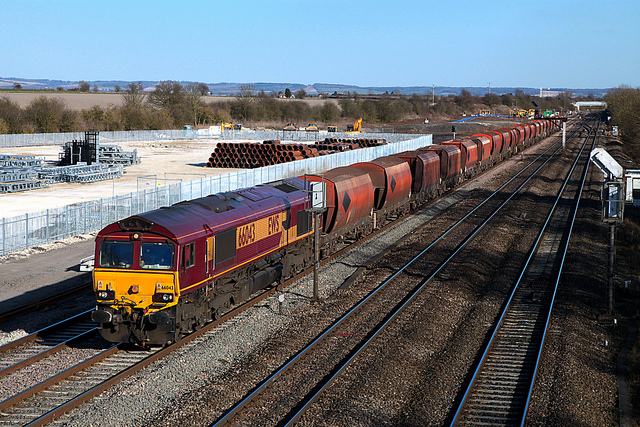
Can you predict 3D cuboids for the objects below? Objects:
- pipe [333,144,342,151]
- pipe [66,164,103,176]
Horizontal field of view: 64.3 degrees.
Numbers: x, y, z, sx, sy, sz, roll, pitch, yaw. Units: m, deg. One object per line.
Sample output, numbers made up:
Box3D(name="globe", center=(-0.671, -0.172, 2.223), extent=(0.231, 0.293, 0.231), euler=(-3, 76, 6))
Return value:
Box3D(name="pipe", center=(2.560, -9.512, 72.565), extent=(1.093, 1.106, 0.307), euler=(-3, 5, -41))
Box3D(name="pipe", center=(-26.468, -5.042, 57.808), extent=(0.725, 0.738, 5.250), euler=(-2, -1, 23))
